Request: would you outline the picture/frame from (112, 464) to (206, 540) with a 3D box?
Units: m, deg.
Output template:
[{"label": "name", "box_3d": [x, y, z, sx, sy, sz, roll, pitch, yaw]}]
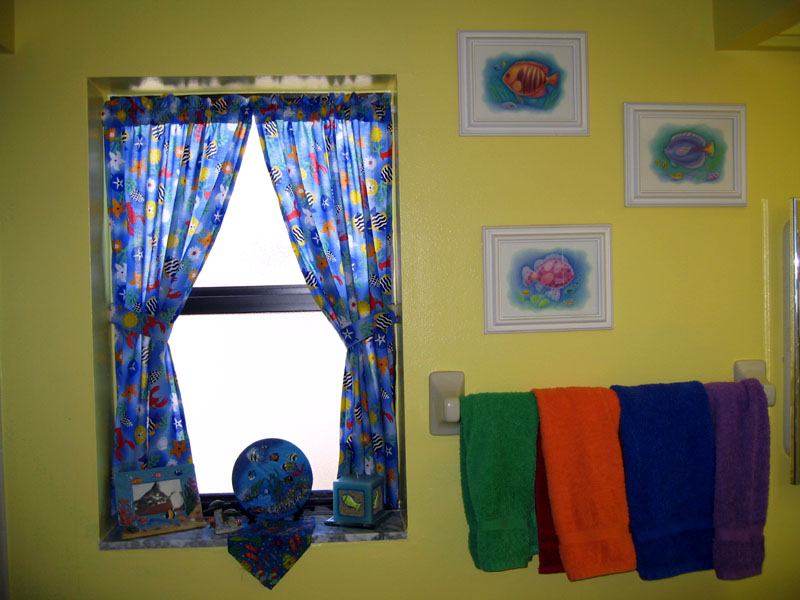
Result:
[{"label": "picture/frame", "box_3d": [-0.795, 0.669, 2.406, 0.191, 0.174, 0.016, -8, -14, -19]}]

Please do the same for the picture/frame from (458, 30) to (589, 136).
[{"label": "picture/frame", "box_3d": [0.382, -0.710, 2.383, 0.306, 0.266, 0.024, 0, 4, -4]}]

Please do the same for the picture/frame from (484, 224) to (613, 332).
[{"label": "picture/frame", "box_3d": [0.463, -0.070, 2.387, 0.309, 0.289, 0.026, -1, 4, -2]}]

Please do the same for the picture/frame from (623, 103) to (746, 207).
[{"label": "picture/frame", "box_3d": [0.915, -0.481, 2.402, 0.302, 0.284, 0.021, 1, -2, -8]}]
